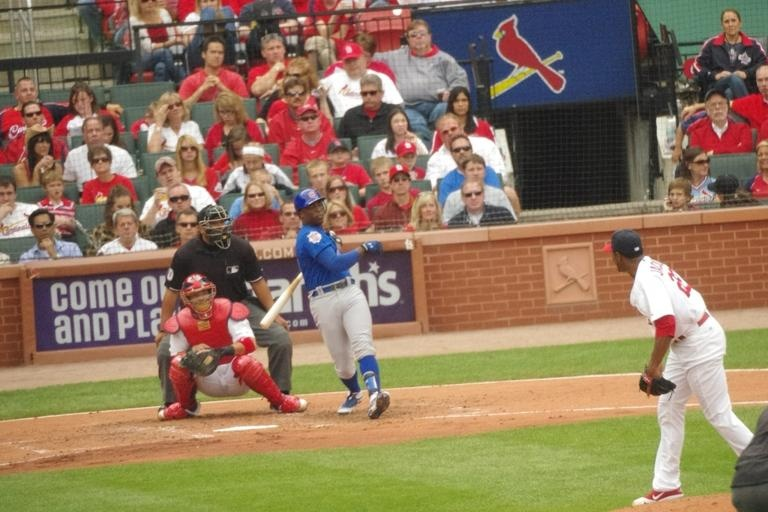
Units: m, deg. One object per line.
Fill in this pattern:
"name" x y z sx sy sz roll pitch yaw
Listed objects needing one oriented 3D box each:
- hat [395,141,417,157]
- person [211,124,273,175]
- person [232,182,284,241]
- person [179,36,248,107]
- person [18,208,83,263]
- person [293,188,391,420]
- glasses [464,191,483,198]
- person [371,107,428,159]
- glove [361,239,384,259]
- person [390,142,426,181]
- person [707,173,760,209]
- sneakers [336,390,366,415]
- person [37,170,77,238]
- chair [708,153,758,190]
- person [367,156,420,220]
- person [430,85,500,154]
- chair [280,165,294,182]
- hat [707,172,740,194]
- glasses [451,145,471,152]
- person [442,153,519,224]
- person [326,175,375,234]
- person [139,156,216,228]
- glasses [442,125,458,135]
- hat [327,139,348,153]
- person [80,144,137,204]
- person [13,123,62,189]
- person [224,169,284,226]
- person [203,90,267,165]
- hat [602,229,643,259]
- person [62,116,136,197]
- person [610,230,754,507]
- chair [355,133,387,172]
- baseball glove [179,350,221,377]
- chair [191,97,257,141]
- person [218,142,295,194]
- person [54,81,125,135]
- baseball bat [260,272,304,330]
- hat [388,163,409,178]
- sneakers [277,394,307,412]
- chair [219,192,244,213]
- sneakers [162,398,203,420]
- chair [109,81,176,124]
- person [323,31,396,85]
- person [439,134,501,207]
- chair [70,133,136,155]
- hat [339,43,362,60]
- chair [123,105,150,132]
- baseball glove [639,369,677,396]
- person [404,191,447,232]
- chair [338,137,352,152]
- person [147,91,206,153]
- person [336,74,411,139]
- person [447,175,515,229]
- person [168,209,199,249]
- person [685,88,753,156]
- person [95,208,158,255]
"hat" 0.367 -1.940 30.081 0.356 0.285 0.249 -5 5 -5
"person" -2.638 -1.901 30.152 0.896 1.523 0.524 -2 12 -3
"person" -2.010 -0.773 30.054 1.018 0.618 1.777 -6 -11 15
"person" -3.329 -3.512 31.902 1.513 1.375 0.882 -1 11 -17
"person" -6.020 -0.256 29.641 1.244 1.145 0.595 -7 -3 3
"person" -0.665 0.747 25.078 1.261 3.551 0.643 -4 5 7
"glasses" 1.550 -1.088 29.592 0.324 0.105 0.088 -5 5 -4
"person" 0.213 -2.228 30.560 0.963 0.836 0.526 -3 12 -16
"glove" -0.209 -0.105 24.986 0.273 0.198 0.487 -4 4 5
"person" 0.439 -1.725 30.026 0.468 0.428 0.767 1 2 -9
"person" 6.264 -1.130 29.895 0.688 0.502 0.305 15 -28 12
"sneakers" -0.517 2.281 25.524 0.195 0.210 0.519 10 31 33
"person" -5.920 -0.886 29.946 0.730 1.214 0.814 -4 -4 1
"chair" 6.337 -1.516 30.499 0.725 0.726 0.691 2 7 8
"person" 0.144 -1.169 29.705 0.881 0.882 0.455 -24 8 -31
"person" 1.423 -2.557 30.959 1.237 1.146 0.678 -5 15 -9
"chair" -1.788 -1.504 30.177 0.240 0.250 0.245 -3 3 0
"hat" 6.094 -1.283 29.914 0.427 0.346 0.306 -1 6 12
"glasses" 1.361 -1.925 29.863 0.352 0.177 0.221 -5 4 -2
"person" 1.570 -1.039 30.014 1.315 1.090 0.702 3 -10 -11
"person" -0.789 -0.915 29.554 0.718 1.008 0.959 -6 18 -13
"person" -3.830 -0.852 29.777 0.871 0.514 1.767 -6 -11 -30
"glasses" 1.167 -2.283 30.225 0.184 0.089 0.201 -3 -16 4
"hat" -0.842 -1.977 30.026 0.366 0.235 0.272 -7 5 -23
"person" -5.057 -1.350 30.090 1.101 1.280 0.703 -4 -7 -5
"person" -6.410 -1.628 30.879 0.993 1.668 1.002 -4 -1 -9
"person" -2.237 -1.158 29.398 0.761 1.047 0.360 6 -18 1
"person" -2.800 -2.308 30.617 1.261 1.652 0.891 4 14 23
"hat" 3.269 -0.171 23.028 0.346 0.282 0.491 -12 18 -36
"person" -5.286 -1.848 30.661 1.506 1.427 0.751 5 18 17
"person" 3.972 1.459 22.629 1.560 3.637 1.090 -4 5 6
"chair" -0.332 -1.907 30.690 0.587 0.794 0.576 2 12 1
"baseball glove" -2.784 1.645 25.021 0.539 0.323 0.352 -3 6 -11
"chair" -3.039 -2.685 31.471 0.879 1.222 0.886 -2 -10 -12
"person" -2.359 -1.543 29.879 0.769 1.138 0.403 -9 14 14
"person" -5.645 -2.783 31.709 0.915 1.273 0.381 -17 20 -13
"baseball bat" -1.728 0.755 27.556 0.159 1.122 0.162 34 -4 11
"hat" 0.231 -1.521 29.520 0.362 0.206 0.269 -4 5 14
"sneakers" -1.439 2.325 25.602 0.235 0.174 0.417 -10 -10 41
"chair" -2.740 -0.946 29.616 0.366 0.473 0.380 -1 -5 -5
"sneakers" -3.158 2.418 25.556 0.498 0.227 0.246 4 -5 -19
"chair" -4.759 -3.145 32.508 1.482 1.059 0.772 0 -4 -10
"person" -0.442 -3.795 31.796 1.129 1.484 0.471 -3 6 -5
"person" 1.476 -1.479 29.895 0.899 1.152 0.618 -24 10 -3
"chair" -5.172 -2.068 31.283 0.859 0.487 0.595 0 5 -18
"hat" -0.643 -3.909 31.507 0.399 0.337 0.601 -5 4 -3
"chair" -4.853 -2.640 32.146 0.519 0.713 0.515 2 6 -9
"baseball glove" 3.676 1.767 22.633 0.382 0.206 0.285 12 -1 -5
"person" 0.760 -0.770 29.764 0.756 0.736 0.436 -4 5 -5
"chair" -0.726 -2.076 30.630 0.175 0.143 0.284 -5 1 -18
"person" -3.929 -2.369 30.968 1.050 1.329 0.749 -7 -4 -9
"person" -0.247 -2.642 30.964 1.352 1.350 0.767 -1 5 10
"person" 1.640 -0.892 29.900 1.302 0.810 0.549 -5 -3 11
"person" -3.327 -0.399 28.064 0.452 0.783 0.376 -2 -13 -2
"person" 6.183 -2.412 30.837 1.268 1.280 0.751 -2 4 7
"person" -4.597 -0.325 29.534 1.076 0.900 0.594 -8 -13 -14
